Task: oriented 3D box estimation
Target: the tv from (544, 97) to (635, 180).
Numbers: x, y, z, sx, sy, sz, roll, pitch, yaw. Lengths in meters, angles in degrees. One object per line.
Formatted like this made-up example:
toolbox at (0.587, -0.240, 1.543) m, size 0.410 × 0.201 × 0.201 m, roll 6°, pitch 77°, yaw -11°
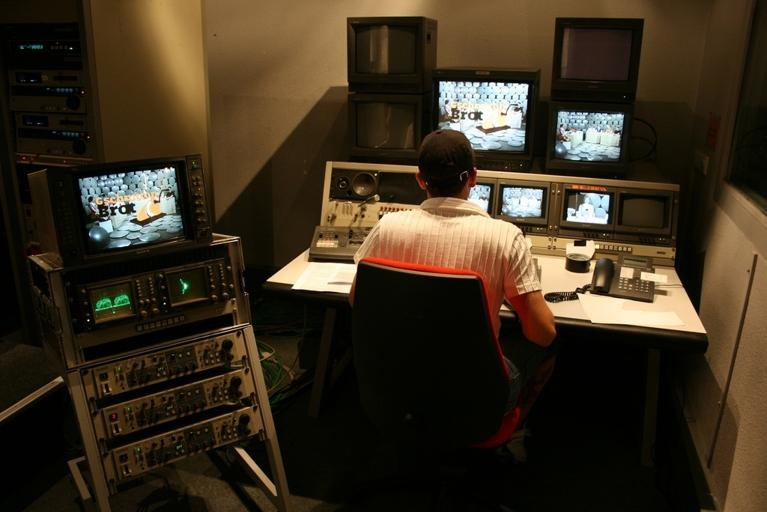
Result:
tv at (1.268, -0.810, 3.600) m, size 0.480 × 0.443 × 0.346 m, roll 7°, pitch 48°, yaw 23°

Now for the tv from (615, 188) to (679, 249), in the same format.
tv at (1.530, -0.210, 3.451) m, size 0.300 × 0.318 × 0.334 m, roll 6°, pitch 0°, yaw 18°

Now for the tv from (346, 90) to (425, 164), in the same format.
tv at (0.022, -0.794, 3.758) m, size 0.421 × 0.423 × 0.456 m, roll 5°, pitch 9°, yaw 8°

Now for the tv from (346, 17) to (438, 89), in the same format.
tv at (0.048, -1.216, 3.774) m, size 0.469 × 0.442 × 0.498 m, roll 2°, pitch 11°, yaw 12°

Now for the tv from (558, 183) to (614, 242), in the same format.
tv at (1.212, -0.279, 3.588) m, size 0.342 × 0.317 × 0.195 m, roll 6°, pitch -5°, yaw -2°

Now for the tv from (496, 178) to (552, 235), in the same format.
tv at (0.869, -0.329, 3.649) m, size 0.343 × 0.310 × 0.219 m, roll 8°, pitch 20°, yaw 23°

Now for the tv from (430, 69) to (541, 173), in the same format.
tv at (0.618, -0.818, 3.775) m, size 0.636 × 0.593 × 0.374 m, roll 2°, pitch -2°, yaw 5°

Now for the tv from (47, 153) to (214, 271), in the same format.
tv at (-1.203, -0.226, 2.711) m, size 0.385 × 0.427 × 0.686 m, roll 9°, pitch 18°, yaw 44°

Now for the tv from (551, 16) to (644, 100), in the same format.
tv at (1.240, -1.152, 3.640) m, size 0.614 × 0.483 × 0.600 m, roll 4°, pitch 8°, yaw 17°
